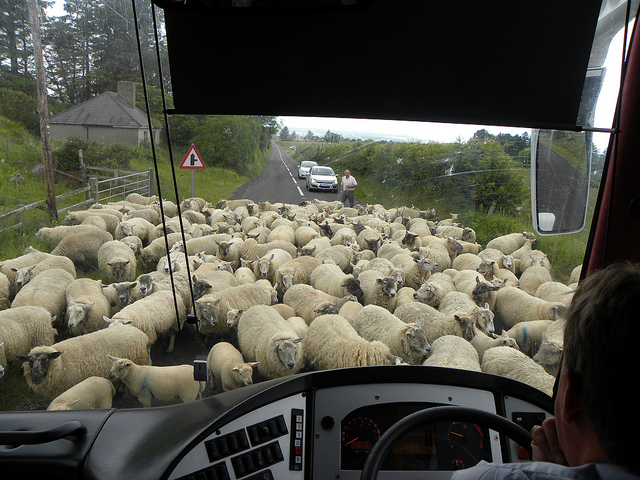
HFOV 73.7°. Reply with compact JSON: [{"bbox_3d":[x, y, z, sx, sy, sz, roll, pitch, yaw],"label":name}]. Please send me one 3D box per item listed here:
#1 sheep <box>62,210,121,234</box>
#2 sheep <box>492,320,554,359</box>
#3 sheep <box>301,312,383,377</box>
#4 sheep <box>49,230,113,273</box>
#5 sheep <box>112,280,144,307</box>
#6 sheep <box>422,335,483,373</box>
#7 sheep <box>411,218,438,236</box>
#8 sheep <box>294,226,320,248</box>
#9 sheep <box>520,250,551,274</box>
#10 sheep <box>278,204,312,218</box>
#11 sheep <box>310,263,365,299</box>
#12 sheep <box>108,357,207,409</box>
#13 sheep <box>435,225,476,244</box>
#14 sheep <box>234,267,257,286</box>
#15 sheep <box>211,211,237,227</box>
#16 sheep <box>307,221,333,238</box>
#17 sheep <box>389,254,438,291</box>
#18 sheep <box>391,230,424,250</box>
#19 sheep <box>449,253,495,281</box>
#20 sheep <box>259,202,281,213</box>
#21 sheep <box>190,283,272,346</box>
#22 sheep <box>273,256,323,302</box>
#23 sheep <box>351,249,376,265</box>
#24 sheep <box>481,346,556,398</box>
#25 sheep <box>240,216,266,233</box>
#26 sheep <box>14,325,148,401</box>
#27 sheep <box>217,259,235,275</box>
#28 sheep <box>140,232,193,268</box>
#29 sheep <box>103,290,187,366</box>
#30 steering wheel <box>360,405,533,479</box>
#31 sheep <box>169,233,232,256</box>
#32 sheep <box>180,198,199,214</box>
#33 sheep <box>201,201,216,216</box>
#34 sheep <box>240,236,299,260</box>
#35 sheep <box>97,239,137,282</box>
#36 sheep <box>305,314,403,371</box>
[{"bbox_3d":[-3.420,-0.270,6.364,0.277,0.178,0.575,-35,-28,34],"label":"sheep"},{"bbox_3d":[2.365,1.162,4.940,0.553,0.417,0.178,-4,38,8],"label":"sheep"},{"bbox_3d":[0.193,1.134,4.117,0.422,0.548,0.862,-9,19,-35],"label":"sheep"},{"bbox_3d":[-3.581,0.192,6.432,1.069,0.597,0.365,-11,25,-25],"label":"sheep"},{"bbox_3d":[-2.447,0.680,5.465,0.207,0.297,0.390,-7,6,-4],"label":"sheep"},{"bbox_3d":[1.329,1.184,4.362,0.490,0.246,0.795,5,16,11],"label":"sheep"},{"bbox_3d":[2.209,-0.302,8.951,0.218,0.344,0.581,-20,17,-34],"label":"sheep"},{"bbox_3d":[-0.275,-0.054,9.108,0.413,0.315,0.604,11,-4,-30],"label":"sheep"},{"bbox_3d":[3.609,0.365,7.245,0.244,0.374,0.516,6,1,19],"label":"sheep"},{"bbox_3d":[-0.543,-0.663,9.680,0.695,0.264,0.401,5,-19,-8],"label":"sheep"},{"bbox_3d":[0.277,0.633,6.438,0.415,0.438,0.643,-32,34,-33],"label":"sheep"},{"bbox_3d":[-1.554,1.440,4.158,0.883,0.609,0.352,1,9,-4],"label":"sheep"},{"bbox_3d":[2.665,-0.168,8.364,0.238,0.398,0.715,-25,32,-36],"label":"sheep"},{"bbox_3d":[-1.136,0.546,6.500,0.182,0.260,0.477,2,12,-7],"label":"sheep"},{"bbox_3d":[-2.044,-0.477,9.331,0.525,0.385,0.286,-7,16,20],"label":"sheep"},{"bbox_3d":[0.026,-0.252,9.382,0.247,0.323,0.576,2,12,-42],"label":"sheep"},{"bbox_3d":[1.504,0.584,7.174,0.434,0.666,1.276,-8,2,-26],"label":"sheep"},{"bbox_3d":[1.720,-0.010,8.616,0.369,0.291,0.773,5,1,-9],"label":"sheep"},{"bbox_3d":[2.655,0.449,7.405,0.244,0.420,0.643,-1,16,-38],"label":"sheep"},{"bbox_3d":[-1.124,-0.733,9.518,0.499,0.168,0.285,2,-21,-4],"label":"sheep"},{"bbox_3d":[-1.047,0.898,5.590,0.368,0.549,1.129,6,16,13],"label":"sheep"},{"bbox_3d":[-0.373,0.561,6.742,0.345,0.609,1.138,2,15,19],"label":"sheep"},{"bbox_3d":[0.816,0.312,8.066,0.185,0.274,0.502,3,5,25],"label":"sheep"},{"bbox_3d":[1.975,1.305,4.234,0.351,0.232,0.750,-8,19,-31],"label":"sheep"},{"bbox_3d":[-1.465,-0.353,9.386,0.510,0.247,0.503,-1,16,-9],"label":"sheep"},{"bbox_3d":[-2.363,1.384,4.431,0.538,0.781,1.332,0,4,23],"label":"sheep"},{"bbox_3d":[-1.452,0.407,6.586,0.143,0.142,0.261,1,-20,9],"label":"sheep"},{"bbox_3d":[-2.640,0.138,7.462,0.296,0.599,1.143,20,29,21],"label":"sheep"},{"bbox_3d":[-2.075,1.091,5.161,0.453,0.822,1.177,4,12,21],"label":"sheep"},{"bbox_3d":[0.555,0.932,1.933,0.748,0.067,0.510,4,32,3],"label":"steering wheel"},{"bbox_3d":[-2.026,0.098,7.327,0.600,0.312,0.188,-5,43,-12],"label":"sheep"},{"bbox_3d":[-2.653,-0.698,8.777,0.349,0.379,0.568,-3,16,-16],"label":"sheep"},{"bbox_3d":[-2.305,-0.650,8.978,0.295,0.343,0.510,-4,17,-21],"label":"sheep"},{"bbox_3d":[-0.915,0.270,7.987,1.021,0.577,0.423,4,18,-3],"label":"sheep"},{"bbox_3d":[-3.060,0.413,6.539,0.496,0.610,1.024,-5,26,-28],"label":"sheep"},{"bbox_3d":[0.251,1.087,4.110,0.340,0.521,0.928,-11,20,-38],"label":"sheep"}]
